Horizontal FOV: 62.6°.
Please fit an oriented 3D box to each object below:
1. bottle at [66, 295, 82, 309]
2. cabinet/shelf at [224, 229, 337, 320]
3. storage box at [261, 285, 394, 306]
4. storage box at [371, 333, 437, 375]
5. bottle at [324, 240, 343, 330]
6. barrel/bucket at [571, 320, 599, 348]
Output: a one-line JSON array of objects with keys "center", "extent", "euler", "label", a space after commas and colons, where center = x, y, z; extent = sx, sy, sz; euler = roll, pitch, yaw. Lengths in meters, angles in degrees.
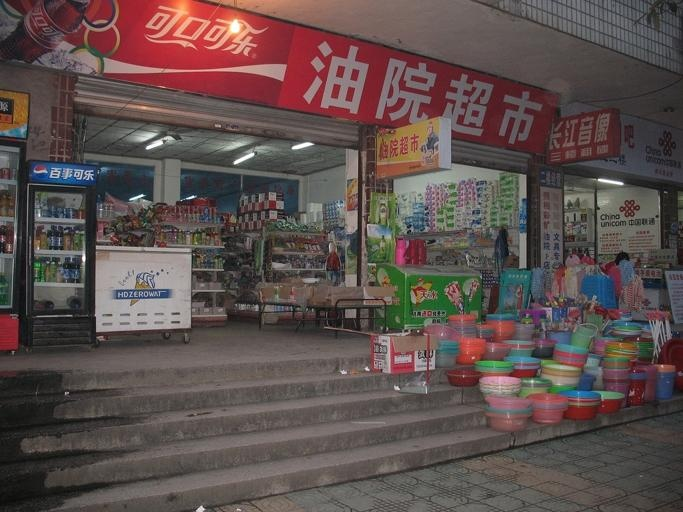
[{"center": [-3.125, 0.540, 6.526], "extent": [0.163, 0.154, 0.180], "euler": [8, 0, -34], "label": "bottle"}, {"center": [-0.982, 0.136, 10.941], "extent": [2.362, 2.136, 1.685], "euler": [4, -5, -29], "label": "cabinet/shelf"}, {"center": [-0.328, 0.563, 8.252], "extent": [2.066, 0.287, 0.866], "euler": [0, 0, 36], "label": "storage box"}, {"center": [0.663, 0.969, 6.283], "extent": [0.661, 0.376, 0.443], "euler": [2, -5, -32], "label": "storage box"}, {"center": [-0.107, 0.330, 8.810], "extent": [0.242, 0.953, 0.226], "euler": [-2, 3, 0], "label": "bottle"}, {"center": [3.171, 1.022, 7.339], "extent": [0.273, 0.320, 0.337], "euler": [12, -10, 45], "label": "barrel/bucket"}]
